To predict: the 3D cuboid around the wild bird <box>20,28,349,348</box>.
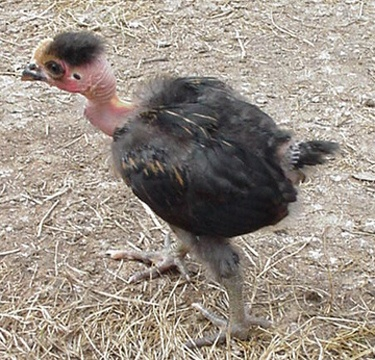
[{"bbox_3d":[0.053,0.019,3.534,1.051,1.964,1.533,-38,50,-27],"label":"wild bird"}]
